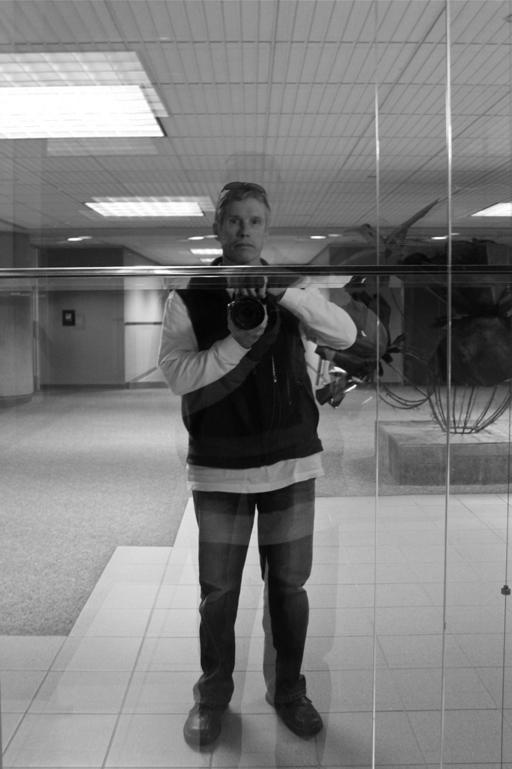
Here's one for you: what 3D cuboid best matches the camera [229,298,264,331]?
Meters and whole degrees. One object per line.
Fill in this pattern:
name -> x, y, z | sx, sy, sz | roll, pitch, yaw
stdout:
camera -> -0.027, -0.201, 1.780 | 0.088, 0.093, 0.084 | 0, 6, 4
